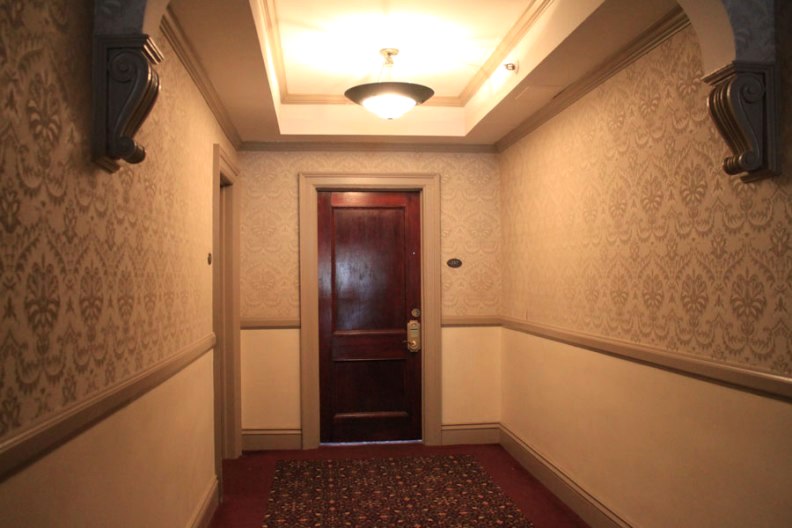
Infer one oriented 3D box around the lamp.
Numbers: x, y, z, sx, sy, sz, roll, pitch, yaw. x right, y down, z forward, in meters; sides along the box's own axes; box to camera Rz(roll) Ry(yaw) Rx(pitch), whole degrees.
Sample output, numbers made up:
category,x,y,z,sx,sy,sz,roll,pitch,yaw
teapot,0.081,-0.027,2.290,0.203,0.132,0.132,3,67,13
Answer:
category,x,y,z,sx,sy,sz,roll,pitch,yaw
lamp,-0.011,-1.380,4.015,0.612,0.463,0.638,1,2,19
